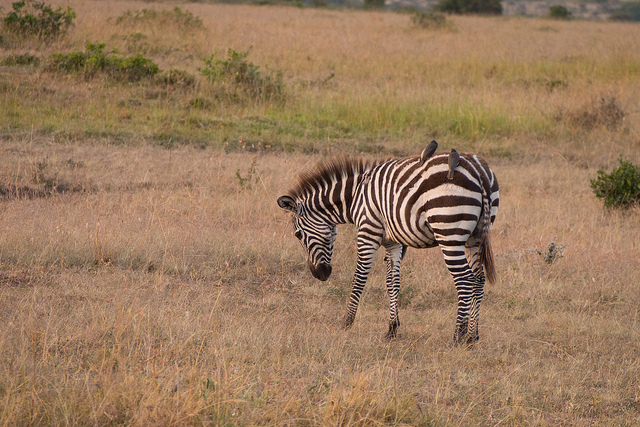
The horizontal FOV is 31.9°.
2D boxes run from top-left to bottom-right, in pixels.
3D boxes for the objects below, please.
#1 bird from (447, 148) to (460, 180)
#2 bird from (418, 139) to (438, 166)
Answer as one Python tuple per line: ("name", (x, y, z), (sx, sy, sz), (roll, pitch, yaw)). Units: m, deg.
("bird", (3.267, -1.161, 27.022), (0.218, 0.768, 0.287), (6, -4, 22))
("bird", (2.680, -1.524, 27.318), (0.247, 0.330, 0.817), (16, 58, 29))
